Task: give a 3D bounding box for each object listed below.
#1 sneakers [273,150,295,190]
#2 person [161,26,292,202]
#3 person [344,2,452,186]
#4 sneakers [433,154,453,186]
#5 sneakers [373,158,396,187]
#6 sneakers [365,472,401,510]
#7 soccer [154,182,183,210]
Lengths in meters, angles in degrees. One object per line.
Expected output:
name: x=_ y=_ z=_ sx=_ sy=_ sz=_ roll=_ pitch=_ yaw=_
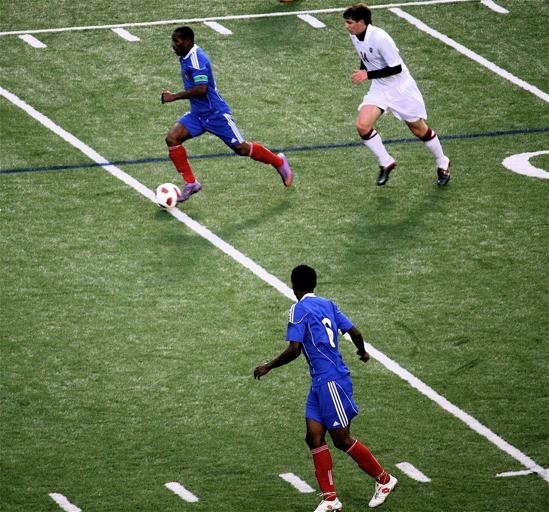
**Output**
sneakers: x=0.130 y=-0.907 z=13.644 sx=0.149 sy=0.381 sz=0.163 roll=0 pitch=30 yaw=47
person: x=-0.593 y=-1.372 z=13.314 sx=1.128 sy=1.914 sz=1.065 roll=-11 pitch=50 yaw=1
person: x=1.327 y=-1.577 z=13.367 sx=0.954 sy=2.092 sz=1.155 roll=-7 pitch=51 yaw=4
sneakers: x=1.825 y=-0.902 z=13.620 sx=0.124 sy=0.150 sz=0.295 roll=5 pitch=84 yaw=36
sneakers: x=1.198 y=-0.856 z=13.510 sx=0.190 sy=0.320 sz=0.121 roll=11 pitch=28 yaw=-4
sneakers: x=0.857 y=1.839 z=10.009 sx=0.361 sy=0.173 sz=0.129 roll=-54 pitch=41 yaw=0
soccer: x=-1.117 y=-0.618 z=13.360 sx=0.273 sy=0.274 sz=0.278 roll=-22 pitch=70 yaw=37
